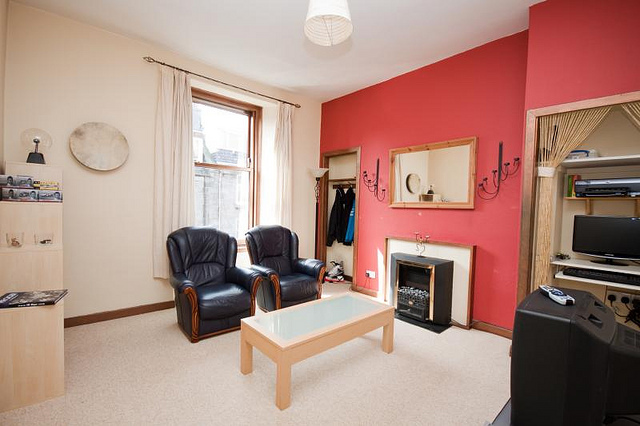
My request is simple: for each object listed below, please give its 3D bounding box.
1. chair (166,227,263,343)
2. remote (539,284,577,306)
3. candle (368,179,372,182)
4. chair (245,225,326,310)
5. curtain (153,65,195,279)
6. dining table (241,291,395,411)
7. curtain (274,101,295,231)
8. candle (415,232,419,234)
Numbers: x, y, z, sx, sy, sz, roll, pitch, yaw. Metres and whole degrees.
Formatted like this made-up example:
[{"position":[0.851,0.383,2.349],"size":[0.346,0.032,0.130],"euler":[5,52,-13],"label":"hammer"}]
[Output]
[{"position":[-1.519,0.891,5.846],"size":[1.090,1.353,1.239],"euler":[-2,3,-38],"label":"chair"},{"position":[2.271,0.792,4.156],"size":[0.133,0.064,0.233],"euler":[-3,11,-13],"label":"remote"},{"position":[0.827,-0.546,7.158],"size":[0.080,0.033,0.018],"euler":[1,5,35],"label":"candle"},{"position":[-0.526,0.829,6.448],"size":[1.047,1.214,1.071],"euler":[-2,4,-28],"label":"chair"},{"position":[-2.116,-0.574,6.140],"size":[0.195,3.097,0.835],"euler":[4,3,43],"label":"curtain"},{"position":[-0.031,1.574,5.106],"size":[1.702,0.867,0.703],"euler":[-4,5,-34],"label":"dining table"},{"position":[-0.599,-0.803,7.386],"size":[0.139,2.175,0.439],"euler":[2,6,43],"label":"curtain"},{"position":[1.448,0.296,6.447],"size":[0.051,0.029,0.098],"euler":[-1,4,7],"label":"candle"}]
